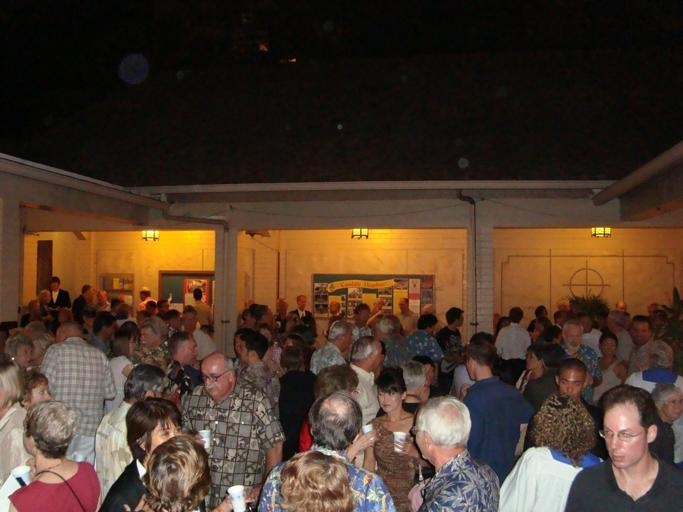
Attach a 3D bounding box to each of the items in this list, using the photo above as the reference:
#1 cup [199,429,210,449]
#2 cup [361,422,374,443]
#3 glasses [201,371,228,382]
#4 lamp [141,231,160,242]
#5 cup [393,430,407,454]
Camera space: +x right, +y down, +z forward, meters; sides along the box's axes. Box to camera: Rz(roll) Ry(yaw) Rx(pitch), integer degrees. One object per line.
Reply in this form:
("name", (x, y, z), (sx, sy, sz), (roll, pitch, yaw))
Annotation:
("cup", (-0.954, 1.267, 4.111), (0.110, 0.123, 0.112), (1, -4, 0))
("cup", (0.180, 1.208, 4.067), (0.083, 0.099, 0.093), (3, 12, 43))
("glasses", (-1.025, 0.968, 4.759), (0.198, 0.084, 0.077), (3, -4, 0))
("lamp", (-4.527, -0.488, 13.911), (0.411, 0.336, 0.434), (1, -3, -6))
("cup", (0.415, 1.317, 4.210), (0.089, 0.139, 0.085), (3, -4, 0))
